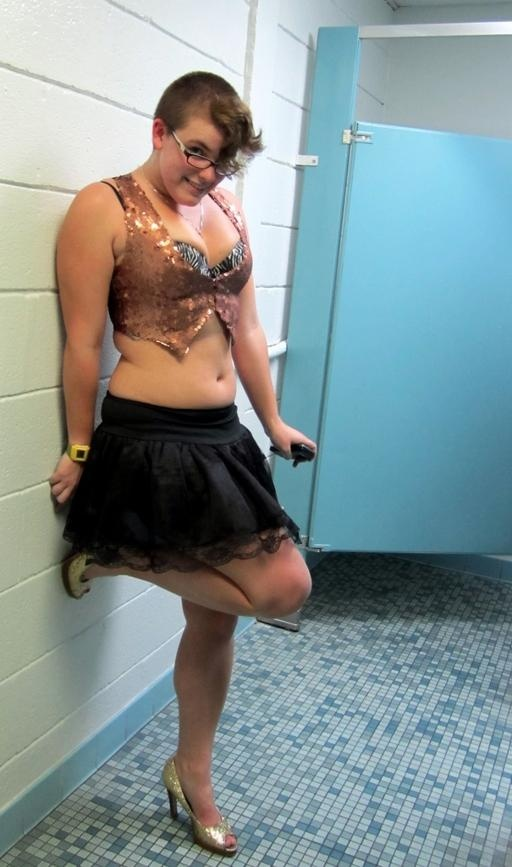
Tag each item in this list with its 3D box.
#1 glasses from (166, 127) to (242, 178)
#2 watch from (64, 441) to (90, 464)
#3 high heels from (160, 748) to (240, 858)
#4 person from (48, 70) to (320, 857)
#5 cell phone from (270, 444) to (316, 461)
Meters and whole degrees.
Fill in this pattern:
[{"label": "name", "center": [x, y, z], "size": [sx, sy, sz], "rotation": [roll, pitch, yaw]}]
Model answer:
[{"label": "glasses", "center": [-0.066, -0.355, 0.784], "size": [0.055, 0.017, 0.057], "rotation": [-6, 50, -51]}, {"label": "watch", "center": [-0.271, 0.030, 0.916], "size": [0.032, 0.023, 0.036], "rotation": [3, 63, -10]}, {"label": "high heels", "center": [-0.103, 0.676, 1.095], "size": [0.168, 0.106, 0.053], "rotation": [16, 4, 27]}, {"label": "person", "center": [-0.127, 0.129, 0.994], "size": [0.419, 1.252, 0.373], "rotation": [2, 7, -23]}, {"label": "cell phone", "center": [0.082, 0.048, 1.280], "size": [0.074, 0.035, 0.041], "rotation": [2, -17, 10]}]
